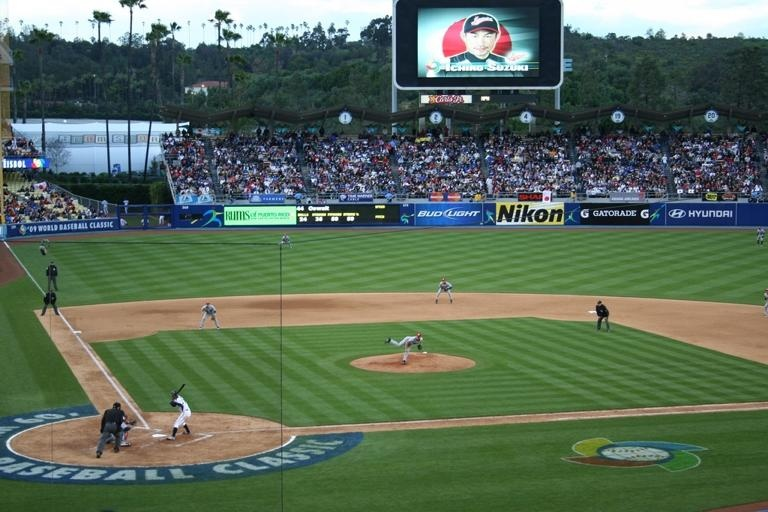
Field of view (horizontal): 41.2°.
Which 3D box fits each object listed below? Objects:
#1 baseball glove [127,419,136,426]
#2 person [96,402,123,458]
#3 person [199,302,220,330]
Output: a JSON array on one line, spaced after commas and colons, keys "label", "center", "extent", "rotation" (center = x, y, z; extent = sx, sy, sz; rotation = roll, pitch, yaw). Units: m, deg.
[{"label": "baseball glove", "center": [-12.004, 7.939, 48.749], "extent": [0.423, 0.147, 0.460], "rotation": [1, 3, 7]}, {"label": "person", "center": [-13.012, 8.114, 48.427], "extent": [1.426, 2.580, 1.101], "rotation": [-4, 11, -12]}, {"label": "person", "center": [-10.962, 3.673, 64.091], "extent": [1.539, 0.895, 1.853], "rotation": [1, -21, -4]}]
